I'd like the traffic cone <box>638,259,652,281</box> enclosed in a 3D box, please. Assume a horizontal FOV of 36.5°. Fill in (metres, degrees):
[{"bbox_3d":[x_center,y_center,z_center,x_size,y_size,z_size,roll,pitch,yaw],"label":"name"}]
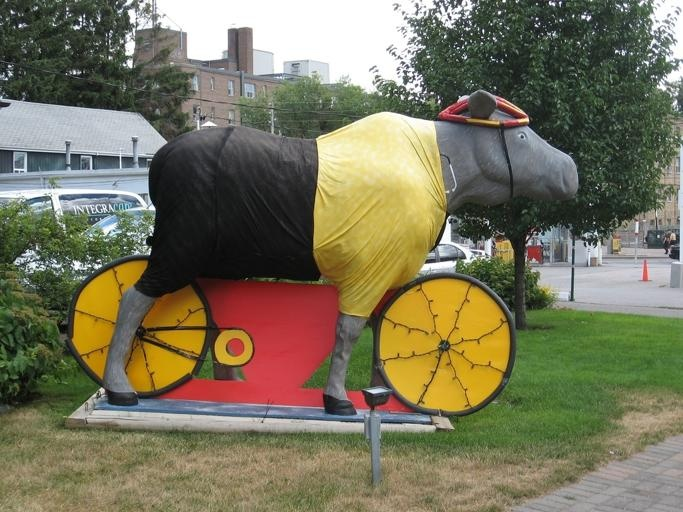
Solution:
[{"bbox_3d":[10.319,0.476,34.874,0.486,0.787,0.524,-2,4,-5],"label":"traffic cone"}]
